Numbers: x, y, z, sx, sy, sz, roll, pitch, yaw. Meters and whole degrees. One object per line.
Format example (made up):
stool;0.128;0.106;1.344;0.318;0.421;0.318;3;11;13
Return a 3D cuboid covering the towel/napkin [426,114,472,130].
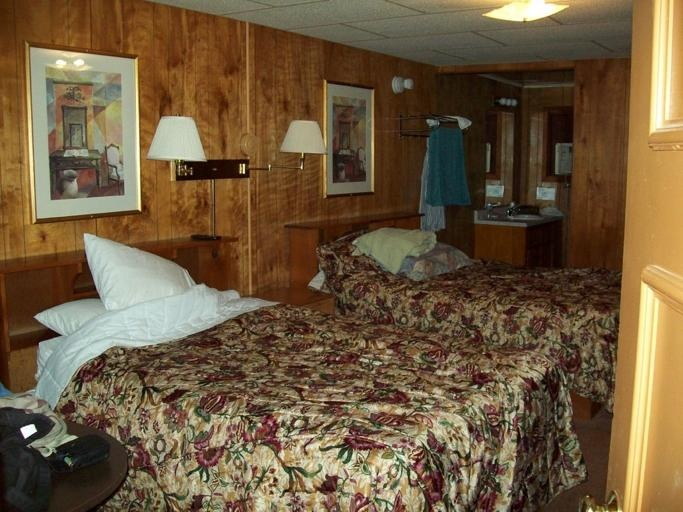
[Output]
towel/napkin;1.116;-1.424;6.020;0.440;0.145;0.657;4;14;6

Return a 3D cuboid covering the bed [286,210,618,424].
bed;0.907;0.282;4.200;1.952;0.735;1.506;5;13;37

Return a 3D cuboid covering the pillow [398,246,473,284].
pillow;0.796;-0.058;4.798;0.505;0.124;0.683;-16;26;2

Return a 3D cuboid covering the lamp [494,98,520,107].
lamp;2.102;-1.982;7.296;0.323;0.080;0.073;-13;36;-37

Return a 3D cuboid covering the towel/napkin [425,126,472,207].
towel/napkin;1.124;-0.915;6.001;0.304;0.864;0.709;15;19;40

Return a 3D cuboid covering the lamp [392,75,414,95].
lamp;0.654;-1.740;5.772;0.173;0.173;0.337;11;17;31

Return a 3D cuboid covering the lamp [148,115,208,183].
lamp;-1.038;-0.738;3.560;0.251;0.272;0.260;12;18;34

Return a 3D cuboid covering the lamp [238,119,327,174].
lamp;-0.414;-0.845;4.567;0.682;0.454;0.411;2;5;26

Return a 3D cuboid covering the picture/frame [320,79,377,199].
picture/frame;0.036;-1.095;5.198;0.056;1.278;1.150;7;10;38
